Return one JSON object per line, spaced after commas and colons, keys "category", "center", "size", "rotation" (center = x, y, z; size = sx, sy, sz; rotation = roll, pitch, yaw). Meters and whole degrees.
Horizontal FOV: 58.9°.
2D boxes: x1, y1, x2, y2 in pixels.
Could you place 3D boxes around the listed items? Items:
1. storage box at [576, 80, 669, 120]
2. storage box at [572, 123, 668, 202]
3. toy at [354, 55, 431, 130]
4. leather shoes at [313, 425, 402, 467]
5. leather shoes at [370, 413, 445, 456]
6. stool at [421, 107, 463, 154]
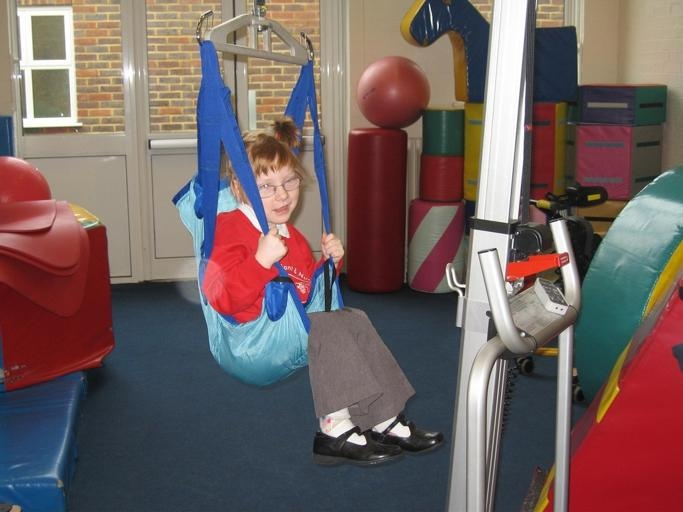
{"category": "storage box", "center": [1.855, -1.001, 3.992], "size": [0.588, 0.250, 0.322], "rotation": [5, 17, 12]}
{"category": "storage box", "center": [1.791, -0.643, 4.069], "size": [0.592, 0.672, 0.623], "rotation": [4, 9, 22]}
{"category": "toy", "center": [0.353, -1.131, 4.309], "size": [0.472, 0.591, 0.461], "rotation": [8, 35, 6]}
{"category": "leather shoes", "center": [0.060, 0.715, 2.353], "size": [0.314, 0.165, 0.150], "rotation": [-1, 5, 8]}
{"category": "leather shoes", "center": [0.253, 0.700, 2.378], "size": [0.315, 0.153, 0.133], "rotation": [0, 17, 2]}
{"category": "stool", "center": [0.702, -0.861, 4.156], "size": [0.283, 0.336, 0.270], "rotation": [-10, 15, -43]}
